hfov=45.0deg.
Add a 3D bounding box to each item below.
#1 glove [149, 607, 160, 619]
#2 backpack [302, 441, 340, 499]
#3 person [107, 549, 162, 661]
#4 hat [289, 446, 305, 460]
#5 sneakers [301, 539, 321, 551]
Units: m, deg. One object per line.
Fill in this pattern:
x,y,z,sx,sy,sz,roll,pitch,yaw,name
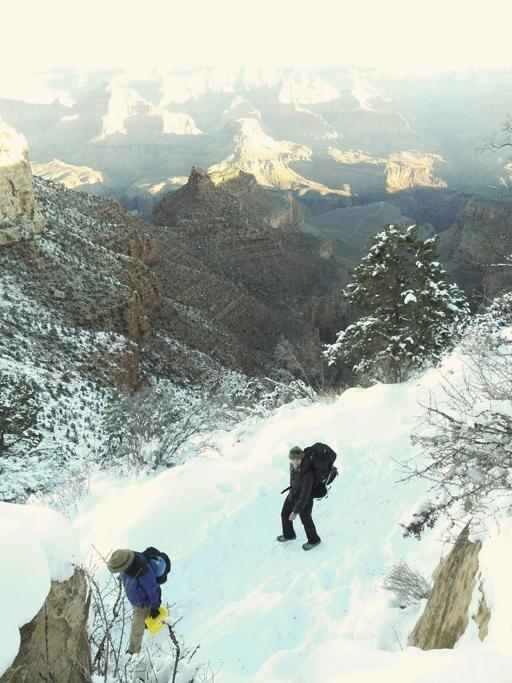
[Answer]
-1.044,2.763,6.317,0.122,0.115,0.072,13,-22,-38,glove
0.779,1.597,7.487,0.390,0.750,0.368,-4,26,-9,backpack
-1.235,2.636,6.259,0.395,1.372,0.470,20,32,36,person
0.468,1.294,7.302,0.174,0.128,0.174,-10,21,7,hat
0.680,2.509,7.641,0.196,0.077,0.109,-32,7,38,sneakers
